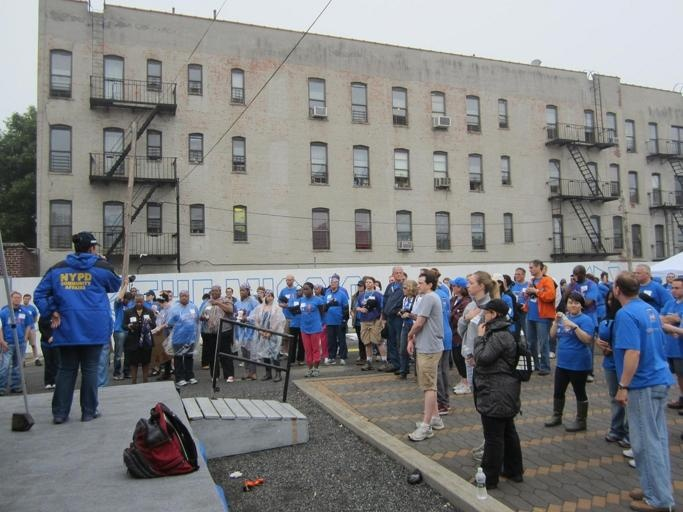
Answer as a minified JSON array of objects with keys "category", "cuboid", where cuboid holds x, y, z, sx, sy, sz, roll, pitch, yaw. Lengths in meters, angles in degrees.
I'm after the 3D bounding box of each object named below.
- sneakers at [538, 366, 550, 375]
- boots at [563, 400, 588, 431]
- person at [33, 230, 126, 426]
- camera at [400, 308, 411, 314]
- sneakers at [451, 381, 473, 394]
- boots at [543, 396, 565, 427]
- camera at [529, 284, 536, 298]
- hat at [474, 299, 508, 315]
[{"category":"sneakers","cuboid":[5.232,3.011,20.692,0.396,0.196,0.293,-3,-4,43]},{"category":"boots","cuboid":[5.048,3.425,17.087,0.443,0.663,0.460,-2,-3,15]},{"category":"person","cuboid":[-5.385,1.445,16.226,1.495,3.861,0.448,0,-3,-18]},{"category":"camera","cuboid":[1.583,1.377,19.834,0.183,0.115,0.245,-2,-4,12]},{"category":"sneakers","cuboid":[2.901,3.224,19.257,0.477,0.197,0.251,3,-6,-15]},{"category":"boots","cuboid":[4.620,3.393,17.228,0.406,0.617,0.292,-1,-3,14]},{"category":"camera","cuboid":[4.981,0.911,20.821,0.192,0.300,0.389,-1,-3,12]},{"category":"hat","cuboid":[3.048,1.001,15.685,0.413,0.210,0.289,5,-1,19]}]
